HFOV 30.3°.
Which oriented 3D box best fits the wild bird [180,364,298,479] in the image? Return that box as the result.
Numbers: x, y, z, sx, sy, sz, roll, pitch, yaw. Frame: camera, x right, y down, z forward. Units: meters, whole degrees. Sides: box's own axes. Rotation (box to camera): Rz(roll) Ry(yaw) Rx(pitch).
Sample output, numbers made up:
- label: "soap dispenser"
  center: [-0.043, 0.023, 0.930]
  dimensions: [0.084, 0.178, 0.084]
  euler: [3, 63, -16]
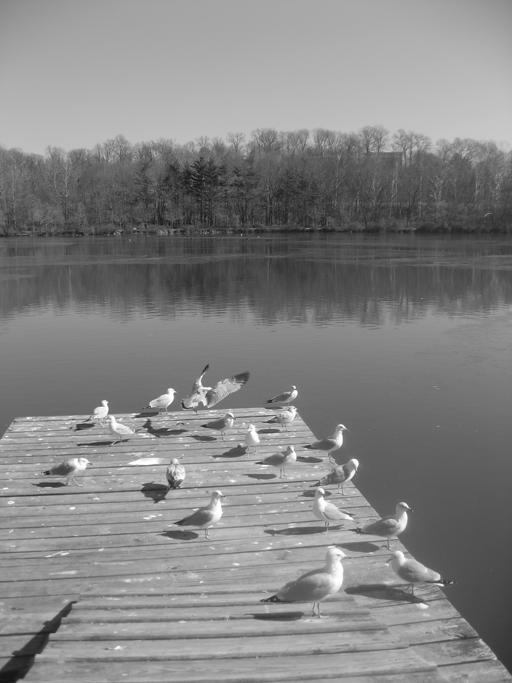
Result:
- label: "wild bird"
  center: [-0.418, 1.186, 13.014]
  dimensions: [0.952, 0.665, 1.374]
  euler: [-11, 21, -4]

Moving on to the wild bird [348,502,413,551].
- label: "wild bird"
  center: [1.218, 1.700, 8.904]
  dimensions: [0.503, 0.483, 0.265]
  euler: [3, 8, 11]

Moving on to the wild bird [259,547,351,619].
- label: "wild bird"
  center: [0.424, 1.871, 7.380]
  dimensions: [0.649, 0.577, 0.304]
  euler: [1, 2, -4]

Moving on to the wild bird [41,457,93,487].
- label: "wild bird"
  center: [-2.058, 1.417, 10.416]
  dimensions: [0.478, 0.369, 0.244]
  euler: [8, -6, -1]

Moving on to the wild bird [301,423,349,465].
- label: "wild bird"
  center: [0.848, 1.220, 11.284]
  dimensions: [0.647, 0.572, 0.342]
  euler: [-3, -2, -2]

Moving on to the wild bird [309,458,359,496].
- label: "wild bird"
  center: [0.832, 1.444, 10.102]
  dimensions: [0.575, 0.405, 0.244]
  euler: [-3, 2, -21]

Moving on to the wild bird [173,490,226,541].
- label: "wild bird"
  center: [-0.575, 1.679, 9.168]
  dimensions: [0.605, 0.521, 0.252]
  euler: [-15, -12, 15]

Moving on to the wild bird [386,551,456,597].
- label: "wild bird"
  center: [1.379, 1.989, 7.974]
  dimensions: [0.529, 0.356, 0.542]
  euler: [9, 14, 9]

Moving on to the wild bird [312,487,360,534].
- label: "wild bird"
  center: [0.741, 1.600, 9.079]
  dimensions: [0.465, 0.423, 0.231]
  euler: [2, 7, -22]
